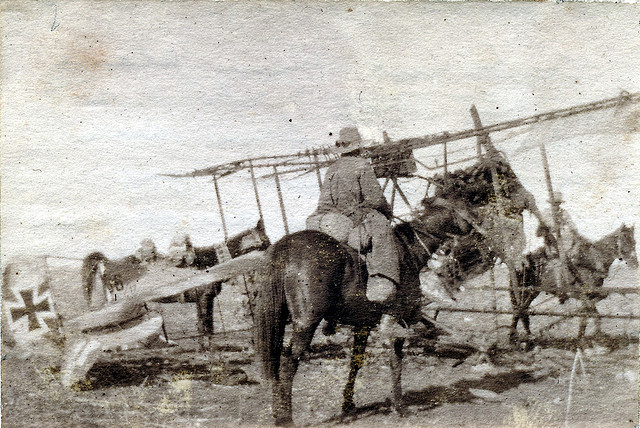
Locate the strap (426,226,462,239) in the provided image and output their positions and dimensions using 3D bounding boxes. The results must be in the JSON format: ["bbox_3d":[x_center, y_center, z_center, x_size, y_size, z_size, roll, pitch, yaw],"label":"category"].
[{"bbox_3d":[1.371,0.211,15.430,0.582,0.053,0.045,10,15,-7],"label":"strap"}]

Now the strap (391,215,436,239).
[{"bbox_3d":[1.058,0.166,15.409,0.679,0.052,0.073,19,1,5],"label":"strap"}]

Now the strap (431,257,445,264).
[{"bbox_3d":[1.325,0.531,15.451,0.151,0.017,0.031,20,14,-5],"label":"strap"}]

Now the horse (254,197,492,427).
[{"bbox_3d":[0.563,1.111,15.347,4.536,2.185,1.035,0,-9,-9],"label":"horse"}]
